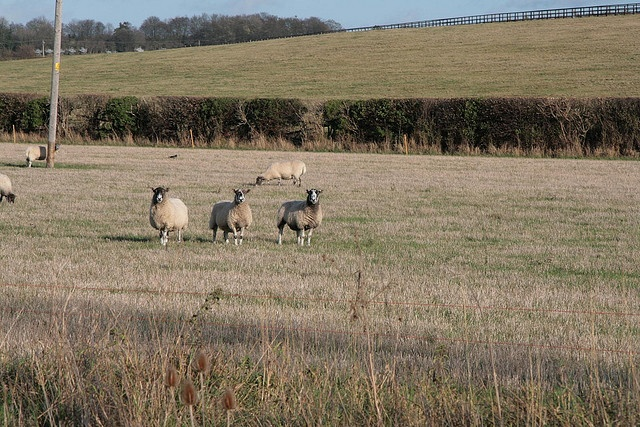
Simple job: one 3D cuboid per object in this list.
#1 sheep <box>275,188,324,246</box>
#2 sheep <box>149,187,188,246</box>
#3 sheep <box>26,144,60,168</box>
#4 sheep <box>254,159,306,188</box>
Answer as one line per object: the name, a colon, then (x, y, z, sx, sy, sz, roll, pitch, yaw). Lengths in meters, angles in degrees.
sheep: (-1.215, 0.140, 70.686, 2.403, 3.680, 4.555, 3, 0, 4)
sheep: (-9.618, 0.209, 70.544, 2.122, 3.426, 4.433, 1, 0, 11)
sheep: (-21.729, -4.379, 86.094, 1.557, 1.487, 1.879, -3, 6, -21)
sheep: (-2.691, -2.979, 82.598, 4.660, 2.537, 1.507, -2, 3, -6)
